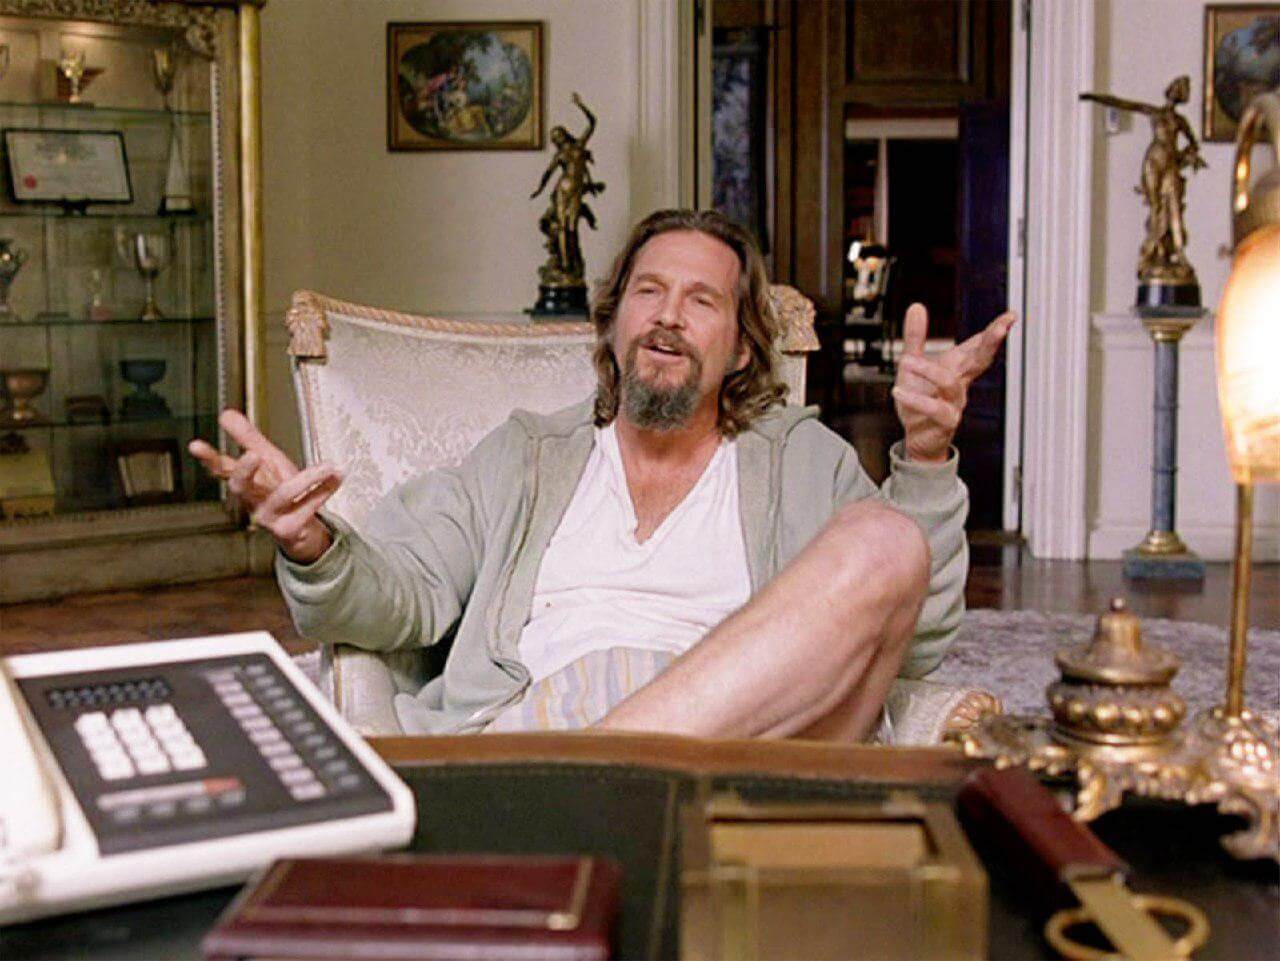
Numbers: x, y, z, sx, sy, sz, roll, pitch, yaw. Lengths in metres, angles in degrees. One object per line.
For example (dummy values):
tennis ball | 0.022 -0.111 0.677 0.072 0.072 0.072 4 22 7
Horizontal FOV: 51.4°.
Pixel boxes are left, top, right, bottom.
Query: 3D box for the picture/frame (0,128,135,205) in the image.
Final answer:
picture/frame | -1.873 -1.025 4.300 0.384 0.266 0.092 -3 6 -34

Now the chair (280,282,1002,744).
chair | -0.076 -0.007 2.102 0.778 0.966 0.793 0 -3 -7

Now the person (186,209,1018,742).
person | -0.002 -0.004 1.825 0.882 0.678 1.056 10 19 43

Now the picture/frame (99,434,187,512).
picture/frame | -1.671 -0.029 4.529 0.218 0.219 0.053 -3 -8 -29

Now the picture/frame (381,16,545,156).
picture/frame | -0.684 -1.592 5.257 0.485 0.429 0.038 1 3 -2

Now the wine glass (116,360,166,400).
wine glass | -1.702 -0.343 4.523 0.109 0.100 0.128 1 -1 9
